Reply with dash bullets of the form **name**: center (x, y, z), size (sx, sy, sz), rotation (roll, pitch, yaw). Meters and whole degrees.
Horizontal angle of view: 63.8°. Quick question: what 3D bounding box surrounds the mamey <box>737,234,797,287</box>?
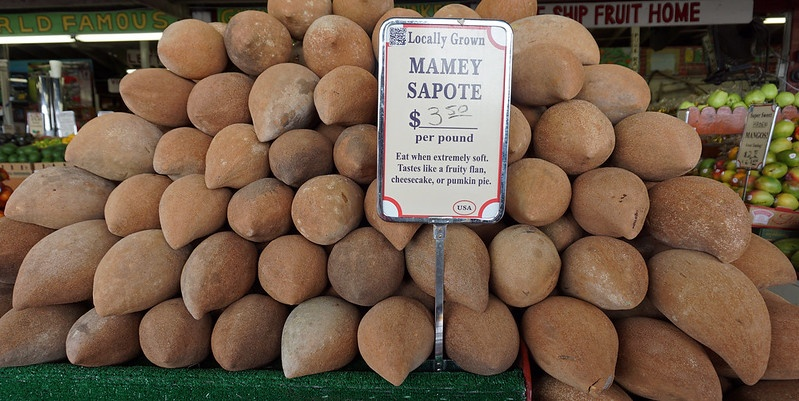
- **mamey**: center (3.655, 0.631, 6.455), size (0.446, 0.335, 0.579), rotation (-4, 54, -54)

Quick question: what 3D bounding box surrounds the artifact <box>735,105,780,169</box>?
- **artifact**: center (4.309, -0.769, 7.765), size (0.332, 0.780, 0.420), rotation (10, 17, 32)
